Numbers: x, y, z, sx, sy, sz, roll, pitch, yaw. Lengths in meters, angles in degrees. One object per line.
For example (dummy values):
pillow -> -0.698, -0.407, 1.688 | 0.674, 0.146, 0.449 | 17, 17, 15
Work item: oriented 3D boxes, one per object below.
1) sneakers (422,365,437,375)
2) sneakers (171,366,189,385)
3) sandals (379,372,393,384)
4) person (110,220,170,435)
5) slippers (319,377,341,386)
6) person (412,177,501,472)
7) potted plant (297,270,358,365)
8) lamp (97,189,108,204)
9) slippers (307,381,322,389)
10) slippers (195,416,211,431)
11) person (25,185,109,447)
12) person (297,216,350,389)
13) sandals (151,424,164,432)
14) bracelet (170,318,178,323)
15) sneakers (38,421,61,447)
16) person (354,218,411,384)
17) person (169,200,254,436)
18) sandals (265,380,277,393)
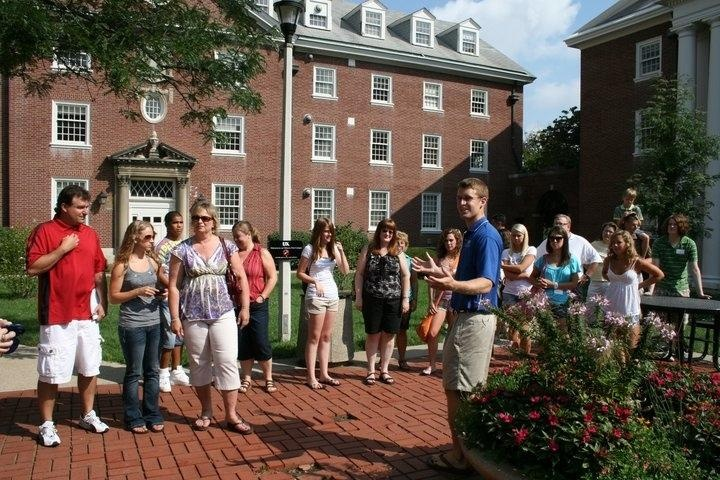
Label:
sneakers -> 1.093, 2.090, 9.940 | 0.093, 0.098, 0.255 | -7, -17, 26
sneakers -> -2.684, 2.016, 9.299 | 0.231, 0.217, 0.479 | 3, -5, -42
sandals -> 0.415, 2.095, 9.510 | 0.192, 0.124, 0.303 | -1, 10, -17
person -> -2.802, 1.060, 7.784 | 0.626, 2.473, 0.958 | -3, 11, -26
slippers -> -0.474, 2.120, 9.357 | 0.132, 0.071, 0.282 | 7, -14, -44
person -> 1.135, 0.934, 6.820 | 0.765, 3.157, 0.962 | 6, 11, 22
potted plant -> -0.382, 1.483, 10.859 | 1.196, 1.673, 1.126 | 2, -3, -33
lamp -> -10.931, -1.791, 26.209 | 0.515, 0.829, 0.506 | 0, 4, -19
slippers -> -0.675, 2.122, 9.203 | 0.242, 0.104, 0.251 | 1, 10, -7
slippers -> -1.989, 2.279, 7.779 | 0.117, 0.076, 0.215 | 1, -6, 1
person -> -3.546, 0.858, 7.523 | 0.872, 2.992, 0.962 | -3, 12, -28
person -> -0.595, 0.925, 9.397 | 0.756, 2.454, 0.938 | 2, 10, -2
sandals -> -2.536, 2.301, 7.668 | 0.159, 0.076, 0.086 | -1, 10, -17
bracelet -> -2.285, 0.978, 7.578 | 0.065, 0.064, 0.060 | -3, 5, -28
sneakers -> -3.715, 2.266, 7.326 | 0.285, 0.243, 0.252 | 0, 10, -11
person -> 0.334, 0.925, 9.557 | 0.872, 2.472, 0.702 | 2, 10, 0
person -> -1.905, 0.940, 7.750 | 0.991, 2.789, 0.785 | 2, 10, -2
sandals -> -1.320, 2.098, 9.038 | 0.165, 0.134, 0.261 | 0, 10, -9
